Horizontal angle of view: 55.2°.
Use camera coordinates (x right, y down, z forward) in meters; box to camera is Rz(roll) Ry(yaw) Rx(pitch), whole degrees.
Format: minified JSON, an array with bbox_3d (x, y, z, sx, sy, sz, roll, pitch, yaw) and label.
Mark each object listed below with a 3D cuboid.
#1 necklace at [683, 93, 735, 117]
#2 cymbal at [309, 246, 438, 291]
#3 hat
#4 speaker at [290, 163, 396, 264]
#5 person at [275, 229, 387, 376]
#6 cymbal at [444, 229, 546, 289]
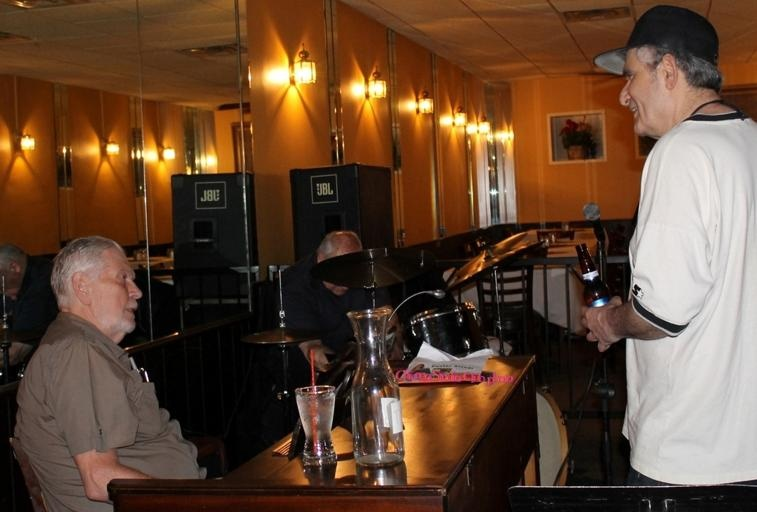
[{"bbox_3d":[1.090,-0.493,2.429,0.100,0.034,0.123,-18,-2,-9],"label":"necklace"},{"bbox_3d":[-0.020,0.004,3.757,0.571,0.130,0.580,-2,15,2],"label":"cymbal"},{"bbox_3d":[0.965,-0.740,2.496,0.400,0.207,0.291,17,2,15],"label":"hat"},{"bbox_3d":[-0.303,-0.213,5.566,0.679,0.935,0.659,-5,3,-15],"label":"speaker"},{"bbox_3d":[-0.299,0.244,4.503,0.554,0.711,0.549,5,6,-24],"label":"person"},{"bbox_3d":[0.717,-0.019,4.799,0.655,0.146,0.627,-36,9,-34],"label":"cymbal"}]
